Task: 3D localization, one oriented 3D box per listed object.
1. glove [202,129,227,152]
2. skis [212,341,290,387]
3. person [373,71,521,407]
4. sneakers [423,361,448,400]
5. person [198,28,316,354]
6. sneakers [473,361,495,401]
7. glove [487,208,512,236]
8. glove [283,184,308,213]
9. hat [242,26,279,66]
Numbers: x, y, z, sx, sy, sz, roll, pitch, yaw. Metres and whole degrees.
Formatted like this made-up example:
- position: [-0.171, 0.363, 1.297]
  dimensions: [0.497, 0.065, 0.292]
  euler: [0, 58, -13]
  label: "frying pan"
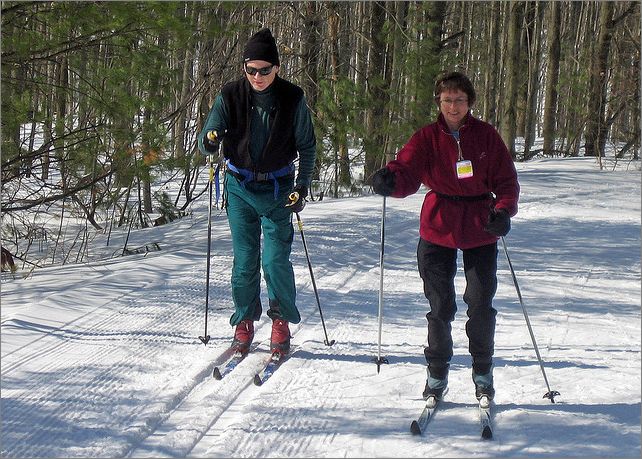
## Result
- position: [-1.016, -0.855, 6.138]
  dimensions: [0.157, 0.220, 0.310]
  euler: [4, 10, 27]
  label: "glove"
- position: [-0.575, 1.287, 6.047]
  dimensions: [0.265, 0.084, 0.574]
  euler: [19, 17, 12]
  label: "skis"
- position: [1.139, 0.078, 5.537]
  dimensions: [1.077, 2.871, 0.557]
  euler: [2, 9, 17]
  label: "person"
- position: [1.009, 1.317, 5.586]
  dimensions: [0.133, 0.290, 0.410]
  euler: [5, 14, 10]
  label: "sneakers"
- position: [-0.585, -0.346, 6.210]
  dimensions: [1.055, 3.172, 0.455]
  euler: [-1, 9, -3]
  label: "person"
- position: [1.438, 1.340, 5.551]
  dimensions: [0.106, 0.302, 0.306]
  euler: [-16, 6, 35]
  label: "sneakers"
- position: [1.502, -0.053, 5.362]
  dimensions: [0.170, 0.247, 0.229]
  euler: [3, 10, 21]
  label: "glove"
- position: [-0.243, -0.314, 6.233]
  dimensions: [0.196, 0.263, 0.123]
  euler: [40, -14, -25]
  label: "glove"
- position: [-0.548, -1.801, 6.036]
  dimensions: [0.318, 0.246, 0.249]
  euler: [15, 36, 25]
  label: "hat"
